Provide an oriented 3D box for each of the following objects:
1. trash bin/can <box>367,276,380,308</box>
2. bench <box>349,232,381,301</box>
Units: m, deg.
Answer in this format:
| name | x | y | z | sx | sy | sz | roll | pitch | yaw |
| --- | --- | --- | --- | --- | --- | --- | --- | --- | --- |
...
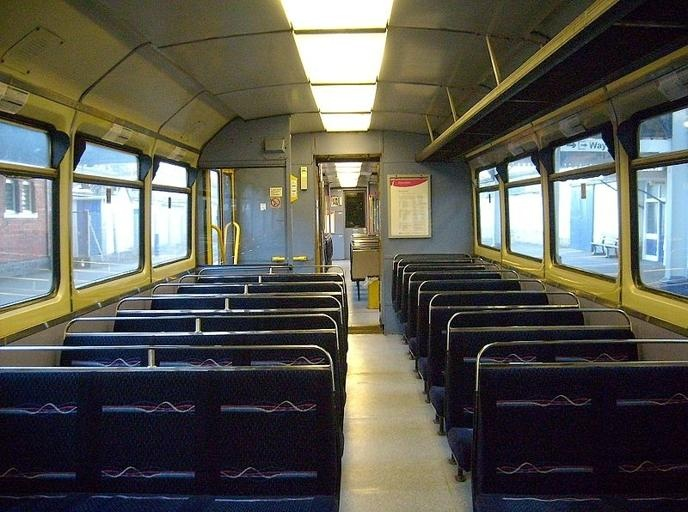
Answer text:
| name | x | y | z | sx | sy | sz | roll | pitch | yaw |
| --- | --- | --- | --- | --- | --- | --- | --- | --- | --- |
| trash bin/can | 0.629 | 0.743 | 11.208 | 0.339 | 0.775 | 0.687 | 1 | 3 | 3 |
| bench | 0.496 | 0.262 | 12.668 | 0.553 | 1.086 | 1.697 | -1 | 4 | -1 |
